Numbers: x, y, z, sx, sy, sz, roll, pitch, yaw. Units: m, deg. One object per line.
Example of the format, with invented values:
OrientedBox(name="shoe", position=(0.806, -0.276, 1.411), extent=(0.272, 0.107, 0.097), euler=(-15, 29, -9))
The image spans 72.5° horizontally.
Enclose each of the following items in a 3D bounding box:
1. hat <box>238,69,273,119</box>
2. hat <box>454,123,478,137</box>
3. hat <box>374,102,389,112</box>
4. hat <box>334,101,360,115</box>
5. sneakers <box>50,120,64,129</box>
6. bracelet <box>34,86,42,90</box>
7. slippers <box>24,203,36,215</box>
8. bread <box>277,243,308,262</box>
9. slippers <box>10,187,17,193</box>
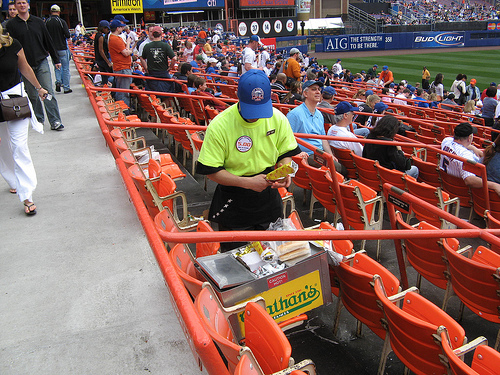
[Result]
OrientedBox(name="hat", position=(0.042, -0.752, 2.645), extent=(0.265, 0.245, 0.420), euler=(-1, 45, -8))
OrientedBox(name="hat", position=(3.447, -0.940, 5.495), extent=(0.216, 0.182, 0.337), euler=(10, 43, 38))
OrientedBox(name="hat", position=(3.134, -1.918, 8.235), extent=(0.205, 0.188, 0.315), euler=(10, 50, 33))
OrientedBox(name="hat", position=(1.648, -1.333, 5.858), extent=(0.412, 0.228, 0.279), euler=(-15, 31, -21))
OrientedBox(name="sneakers", position=(-3.829, -1.230, 6.774), extent=(0.120, 0.145, 0.325), euler=(-5, 5, -33))
OrientedBox(name="bracelet", position=(-2.726, -1.283, 4.399), extent=(0.069, 0.031, 0.077), euler=(-1, -6, 11))
OrientedBox(name="slippers", position=(-2.562, 0.243, 3.976), extent=(0.079, 0.059, 0.197), euler=(0, 23, -32))
OrientedBox(name="bread", position=(0.312, 0.450, 2.517), extent=(0.156, 0.064, 0.157), euler=(-13, 3, -23))
OrientedBox(name="slippers", position=(-3.081, 0.041, 4.439), extent=(0.114, 0.047, 0.040), euler=(16, 20, 36))
